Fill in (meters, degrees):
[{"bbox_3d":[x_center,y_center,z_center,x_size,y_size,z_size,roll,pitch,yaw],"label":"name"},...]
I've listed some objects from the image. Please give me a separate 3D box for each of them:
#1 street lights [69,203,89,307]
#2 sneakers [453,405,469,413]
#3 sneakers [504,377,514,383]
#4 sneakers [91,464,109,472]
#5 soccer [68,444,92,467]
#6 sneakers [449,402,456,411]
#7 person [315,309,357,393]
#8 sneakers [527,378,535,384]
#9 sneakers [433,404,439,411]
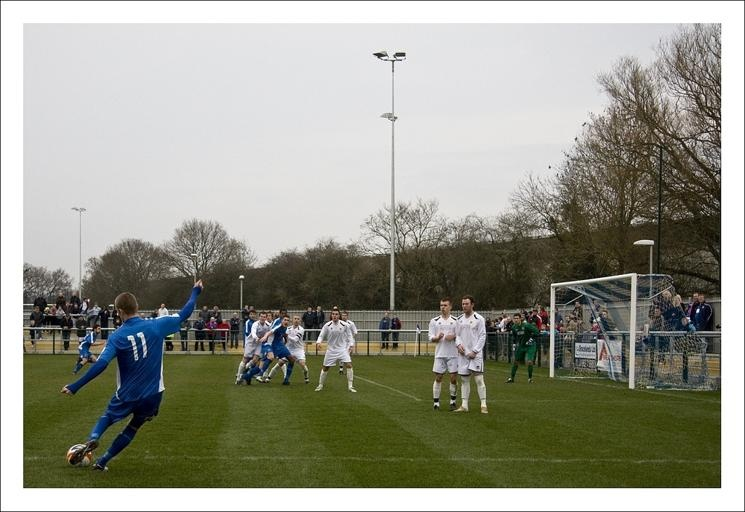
[{"bbox_3d":[-20.315,-0.799,62.553,0.898,5.073,0.956,5,6,37],"label":"street lights"},{"bbox_3d":[2.397,4.115,24.253,0.464,0.215,0.166,7,-15,-11],"label":"sneakers"},{"bbox_3d":[4.726,4.301,31.205,0.385,0.291,0.136,2,-5,4],"label":"sneakers"},{"bbox_3d":[-5.846,4.510,19.314,0.324,0.185,0.220,3,-6,-16],"label":"sneakers"},{"bbox_3d":[-6.199,4.199,19.066,0.450,0.483,0.431,3,-6,-12],"label":"soccer"},{"bbox_3d":[2.193,4.075,24.358,0.137,0.248,0.235,0,-10,0],"label":"sneakers"},{"bbox_3d":[-1.185,2.950,28.109,1.235,2.632,1.079,-1,0,11],"label":"person"},{"bbox_3d":[5.511,4.296,31.063,0.257,0.276,0.129,1,-3,-17],"label":"sneakers"},{"bbox_3d":[1.728,4.075,24.322,0.119,0.100,0.120,0,-1,12],"label":"sneakers"}]
